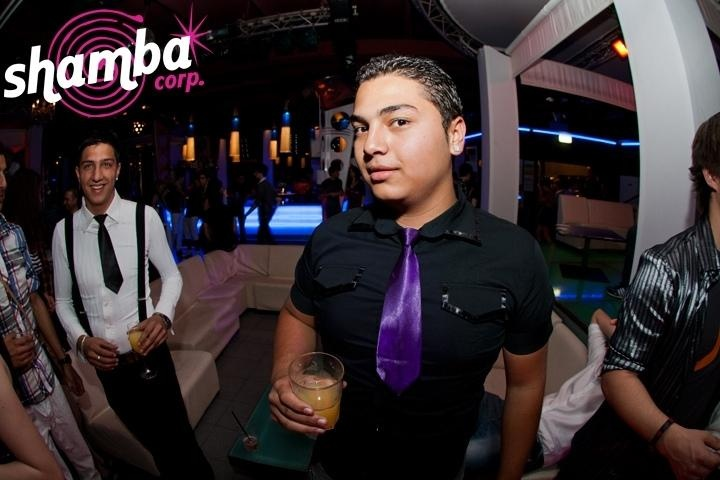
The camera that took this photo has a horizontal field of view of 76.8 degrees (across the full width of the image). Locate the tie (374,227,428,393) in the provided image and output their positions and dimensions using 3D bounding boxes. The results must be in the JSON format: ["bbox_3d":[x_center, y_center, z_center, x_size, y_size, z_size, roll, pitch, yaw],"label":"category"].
[{"bbox_3d":[0.227,0.384,2.540,0.236,0.895,0.166,3,5,7],"label":"tie"}]

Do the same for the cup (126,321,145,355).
[{"bbox_3d":[-1.660,0.735,3.349,0.094,0.245,0.176,-1,7,-30],"label":"cup"}]

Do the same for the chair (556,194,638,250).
[{"bbox_3d":[4.194,-0.307,8.161,0.942,0.667,0.530,5,10,3],"label":"chair"}]

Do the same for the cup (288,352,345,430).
[{"bbox_3d":[-0.217,0.796,2.687,0.367,0.444,0.403,-4,19,2],"label":"cup"}]

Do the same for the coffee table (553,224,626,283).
[{"bbox_3d":[3.451,0.189,7.007,1.005,0.715,1.011,9,26,23],"label":"coffee table"}]

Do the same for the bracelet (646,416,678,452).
[{"bbox_3d":[1.816,1.163,2.737,0.125,0.180,0.045,2,5,0],"label":"bracelet"}]
